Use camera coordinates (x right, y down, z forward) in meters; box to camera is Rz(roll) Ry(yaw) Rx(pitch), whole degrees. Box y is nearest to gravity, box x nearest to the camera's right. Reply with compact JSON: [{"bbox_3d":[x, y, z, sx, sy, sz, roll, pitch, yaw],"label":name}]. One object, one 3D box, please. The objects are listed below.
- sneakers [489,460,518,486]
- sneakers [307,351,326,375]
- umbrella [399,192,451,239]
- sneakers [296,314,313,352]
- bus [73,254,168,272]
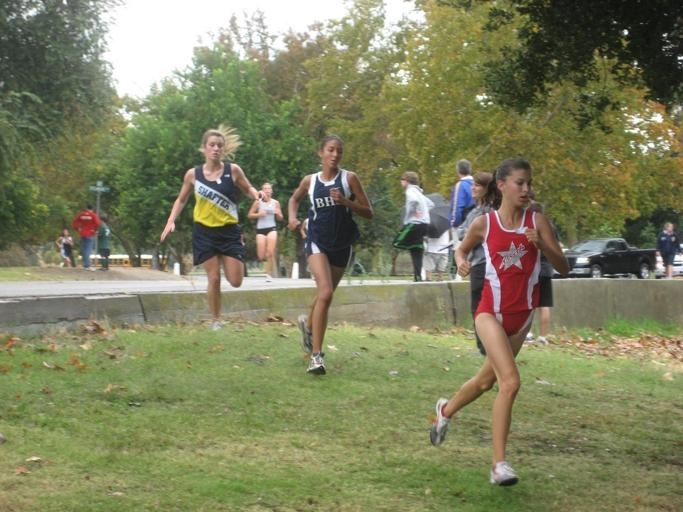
[{"bbox_3d":[1.303,1.783,6.476,0.127,0.126,0.295,2,-13,-12],"label":"sneakers"},{"bbox_3d":[-0.282,1.197,8.880,0.210,0.256,0.220,7,12,-2],"label":"sneakers"},{"bbox_3d":[1.844,-0.858,16.262,1.063,0.951,0.638,23,-12,4],"label":"umbrella"},{"bbox_3d":[-0.431,0.900,9.325,0.205,0.404,0.152,-3,0,27],"label":"sneakers"},{"bbox_3d":[-12.149,0.365,43.709,4.726,0.971,1.335,4,0,17],"label":"bus"}]
